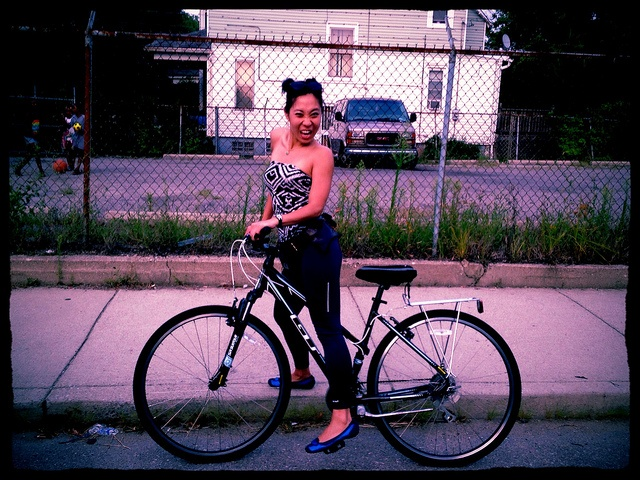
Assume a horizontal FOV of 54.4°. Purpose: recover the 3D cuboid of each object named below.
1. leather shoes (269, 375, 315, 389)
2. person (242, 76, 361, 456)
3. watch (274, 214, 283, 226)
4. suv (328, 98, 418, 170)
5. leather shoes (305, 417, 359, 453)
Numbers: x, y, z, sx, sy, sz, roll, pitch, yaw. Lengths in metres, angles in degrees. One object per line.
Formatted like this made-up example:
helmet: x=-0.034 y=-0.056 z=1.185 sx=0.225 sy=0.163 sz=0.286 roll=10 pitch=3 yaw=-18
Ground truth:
leather shoes: x=-0.225 y=1.156 z=4.956 sx=0.383 sy=0.144 sz=0.155 roll=3 pitch=-1 yaw=-6
person: x=-0.087 y=0.183 z=4.526 sx=0.739 sy=2.691 sz=0.367 roll=1 pitch=4 yaw=3
watch: x=-0.298 y=-0.144 z=4.428 sx=0.047 sy=0.091 sz=0.062 roll=-3 pitch=15 yaw=-14
suv: x=1.266 y=-2.689 z=15.355 sx=1.632 sy=1.549 sz=3.141 roll=-2 pitch=12 yaw=-4
leather shoes: x=0.102 y=1.444 z=4.549 sx=0.457 sy=0.183 sz=0.163 roll=-25 pitch=5 yaw=1
